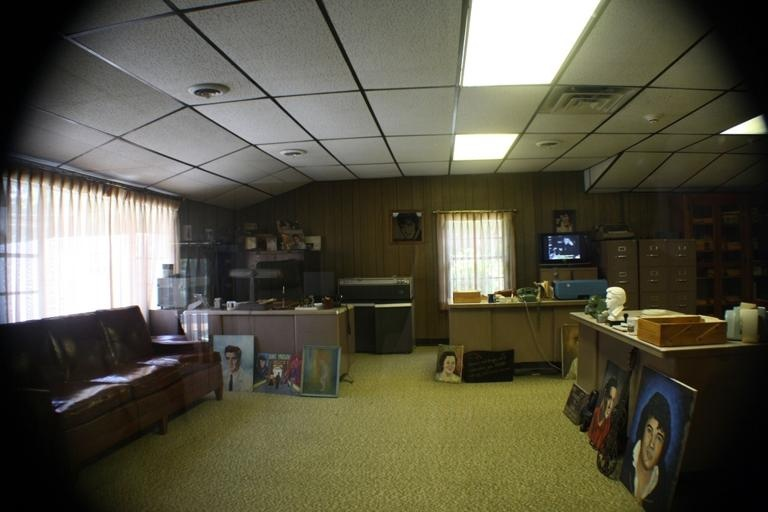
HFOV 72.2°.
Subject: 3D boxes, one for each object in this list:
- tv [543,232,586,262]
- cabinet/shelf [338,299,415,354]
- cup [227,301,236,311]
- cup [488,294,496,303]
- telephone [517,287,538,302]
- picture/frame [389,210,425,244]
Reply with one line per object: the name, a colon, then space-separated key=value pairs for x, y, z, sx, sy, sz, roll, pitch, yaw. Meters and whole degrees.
tv: x=2.571 y=-0.131 z=7.418 sx=0.429 sy=0.293 sz=0.126 roll=0 pitch=-2 yaw=16
cabinet/shelf: x=-0.013 y=0.961 z=7.332 sx=0.755 sy=0.620 sz=0.755 roll=-1 pitch=-3 yaw=6
cup: x=-1.780 y=0.571 z=6.178 sx=0.101 sy=0.115 sz=0.099 roll=1 pitch=-5 yaw=0
cup: x=1.307 y=0.504 z=6.348 sx=0.107 sy=0.100 sz=0.066 roll=0 pitch=1 yaw=2
telephone: x=1.756 y=0.457 z=6.407 sx=0.181 sy=0.122 sz=0.184 roll=-4 pitch=1 yaw=-1
picture/frame: x=0.379 y=-0.449 z=7.909 sx=0.534 sy=0.509 sz=0.034 roll=0 pitch=-1 yaw=4
